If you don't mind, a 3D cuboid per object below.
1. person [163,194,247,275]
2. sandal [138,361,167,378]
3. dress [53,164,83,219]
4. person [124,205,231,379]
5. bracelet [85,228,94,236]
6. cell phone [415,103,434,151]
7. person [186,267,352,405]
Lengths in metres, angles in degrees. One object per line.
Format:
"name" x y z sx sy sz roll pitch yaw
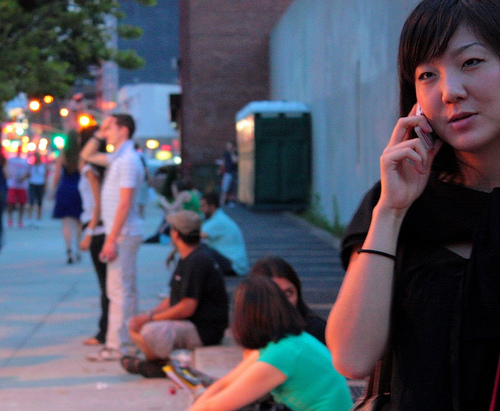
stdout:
"person" -0.419 0.423 7.174 0.836 1.066 0.473 11 4 3
"sandal" -0.748 1.249 5.344 0.144 0.095 0.144 0 2 -10
"dress" -2.757 -0.210 10.602 0.421 0.853 0.762 0 2 -15
"person" -0.639 0.718 5.763 0.937 1.408 0.721 -3 5 -17
"bracelet" -1.417 0.229 6.155 0.054 0.041 0.055 -2 -6 34
"cell phone" 0.464 -0.207 1.850 0.024 0.106 0.078 -26 4 2
"person" 0.124 0.683 3.616 0.743 0.620 0.586 -2 -9 12
